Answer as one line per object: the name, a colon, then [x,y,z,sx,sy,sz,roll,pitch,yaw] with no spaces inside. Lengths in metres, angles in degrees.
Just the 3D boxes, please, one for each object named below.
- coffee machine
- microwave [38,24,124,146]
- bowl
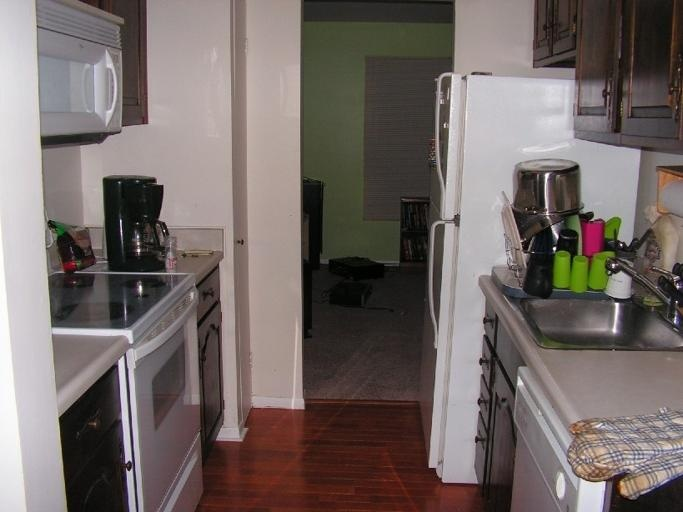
coffee machine: [-0.932,-0.148,2.520,0.232,0.425,0.245,-4,9,-39]
microwave: [-0.932,-0.598,2.002,0.223,0.483,0.319,4,13,1]
bowl: [0.849,-0.285,2.297,0.223,0.159,0.238,-1,16,0]
